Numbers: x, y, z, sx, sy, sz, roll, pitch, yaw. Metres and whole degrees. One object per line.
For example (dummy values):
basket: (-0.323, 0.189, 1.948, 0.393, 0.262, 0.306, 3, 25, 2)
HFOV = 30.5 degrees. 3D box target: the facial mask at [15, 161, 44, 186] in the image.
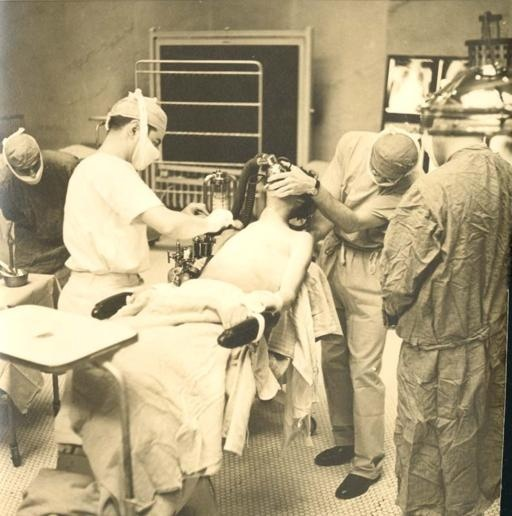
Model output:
facial mask: (-0.753, -0.274, 3.148, 0.065, 0.089, 0.047, -9, -5, 11)

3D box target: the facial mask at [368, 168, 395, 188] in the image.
facial mask: (0.413, -0.262, 3.043, 0.054, 0.046, 0.073, 20, 12, 7)

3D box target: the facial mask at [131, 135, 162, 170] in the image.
facial mask: (-0.357, -0.331, 3.100, 0.079, 0.109, 0.099, 17, -9, 6)

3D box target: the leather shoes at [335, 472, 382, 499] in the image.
leather shoes: (0.347, 0.755, 3.206, 0.164, 0.070, 0.055, -11, 14, -37)

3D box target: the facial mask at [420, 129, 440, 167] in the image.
facial mask: (0.556, -0.349, 3.034, 0.071, 0.108, 0.035, 3, 9, 34)

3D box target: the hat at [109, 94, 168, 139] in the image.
hat: (-0.413, -0.474, 3.095, 0.207, 0.119, 0.157, 1, 16, -44)

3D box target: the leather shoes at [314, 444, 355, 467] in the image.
leather shoes: (0.261, 0.670, 3.176, 0.155, 0.058, 0.064, -7, -13, -6)
